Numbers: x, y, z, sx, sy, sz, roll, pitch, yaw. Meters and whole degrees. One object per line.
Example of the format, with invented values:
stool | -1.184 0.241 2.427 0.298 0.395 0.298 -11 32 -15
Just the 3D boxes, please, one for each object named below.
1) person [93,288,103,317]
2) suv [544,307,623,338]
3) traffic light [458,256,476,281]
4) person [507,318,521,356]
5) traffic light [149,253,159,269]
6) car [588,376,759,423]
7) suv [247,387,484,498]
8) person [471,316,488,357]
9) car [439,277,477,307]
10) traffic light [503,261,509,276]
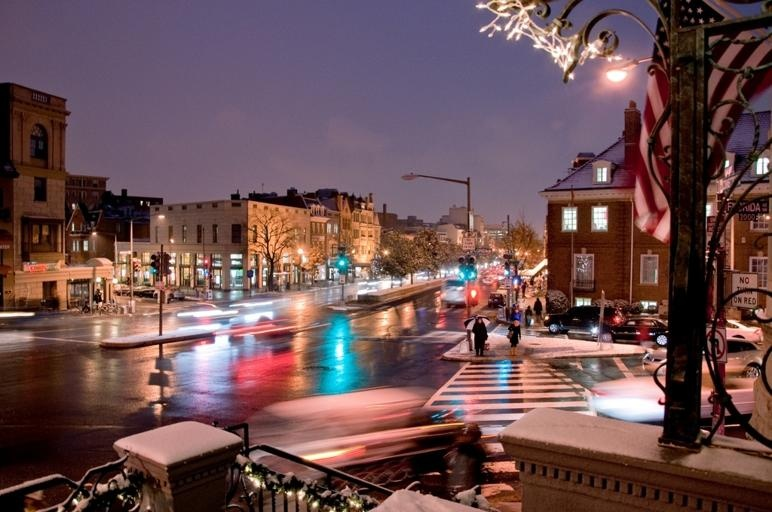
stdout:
person | -19.037 3.055 45.388 0.567 1.438 2.094 0 1 -24
suv | 10.017 3.372 34.954 3.003 1.398 1.408 2 -2 42
traffic light | 3.630 0.563 30.435 0.764 1.154 1.622 1 0 6
person | 5.470 3.403 29.326 0.475 1.485 2.320 1 0 10
traffic light | -10.524 0.281 31.226 0.316 0.726 0.582 1 1 14
car | 7.337 3.889 18.624 4.280 1.023 2.788 1 0 37
suv | -0.483 4.778 18.030 2.711 1.387 4.407 2 -9 -43
person | 3.820 3.347 28.343 0.526 1.648 0.722 1 1 24
car | 5.534 2.543 53.298 2.177 1.814 3.698 0 5 19
traffic light | 7.369 0.815 41.653 0.189 0.928 0.580 1 1 -2
